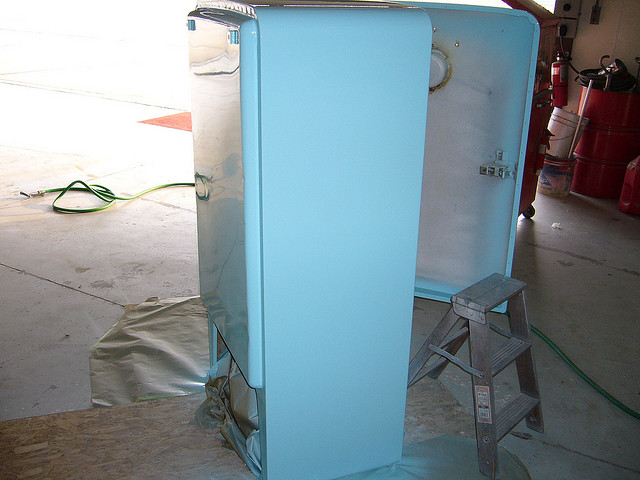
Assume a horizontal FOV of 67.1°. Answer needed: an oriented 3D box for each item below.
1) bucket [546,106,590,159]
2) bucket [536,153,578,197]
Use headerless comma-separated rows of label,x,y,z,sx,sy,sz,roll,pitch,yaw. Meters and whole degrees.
bucket,2.513,-1.097,5.034,0.268,0.505,0.144,14,23,25
bucket,2.639,-0.742,5.406,0.381,0.415,0.373,0,24,0
